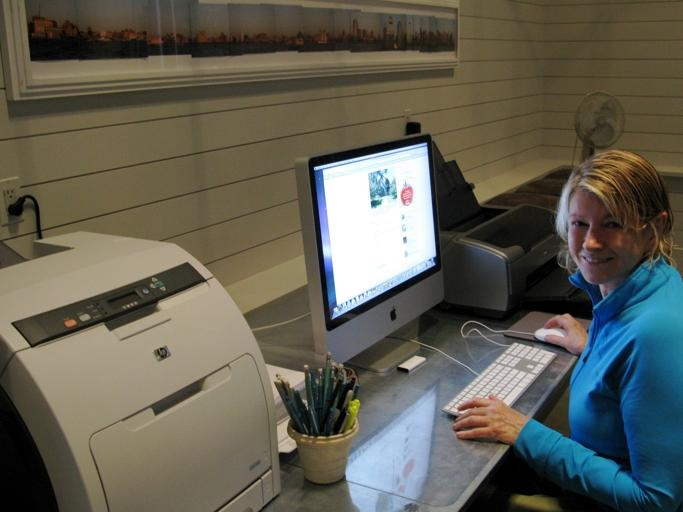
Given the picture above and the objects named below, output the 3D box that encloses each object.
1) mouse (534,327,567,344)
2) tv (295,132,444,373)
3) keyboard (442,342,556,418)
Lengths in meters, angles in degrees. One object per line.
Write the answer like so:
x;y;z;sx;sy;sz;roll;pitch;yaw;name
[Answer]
0.687;0.261;1.654;0.064;0.021;0.048;2;18;24;mouse
0.099;0.013;1.512;0.098;0.741;0.857;7;19;27;tv
0.467;0.370;1.443;0.415;0.043;0.133;-22;23;-40;keyboard
